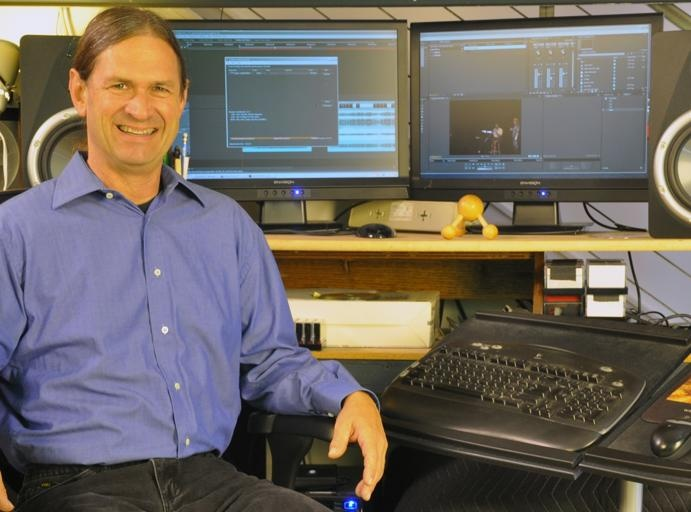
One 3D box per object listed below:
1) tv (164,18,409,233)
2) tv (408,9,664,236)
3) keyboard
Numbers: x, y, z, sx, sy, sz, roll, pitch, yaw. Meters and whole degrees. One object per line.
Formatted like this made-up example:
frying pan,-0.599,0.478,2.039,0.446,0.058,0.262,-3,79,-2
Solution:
tv,-0.181,-0.406,2.105,0.787,0.569,0.183,2,19,9
tv,0.567,-0.389,2.078,0.729,0.602,0.153,7,25,32
keyboard,0.342,0.283,1.413,0.495,0.080,0.313,5,18,23
